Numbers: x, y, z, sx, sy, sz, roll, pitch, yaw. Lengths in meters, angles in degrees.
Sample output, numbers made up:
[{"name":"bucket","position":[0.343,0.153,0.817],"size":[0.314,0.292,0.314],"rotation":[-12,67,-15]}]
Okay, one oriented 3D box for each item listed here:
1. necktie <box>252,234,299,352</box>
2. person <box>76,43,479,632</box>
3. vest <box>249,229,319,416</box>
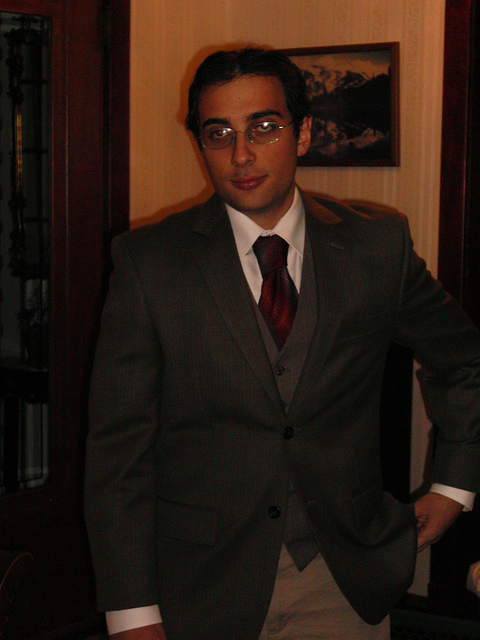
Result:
[{"name":"necktie","position":[0.062,-0.049,1.149],"size":[0.067,0.205,0.023],"rotation":[-5,-17,2]},{"name":"person","position":[0.084,0.049,1.165],"size":[0.739,1.060,0.336],"rotation":[-4,8,-19]},{"name":"vest","position":[0.100,-0.011,1.148],"size":[0.153,0.288,0.097],"rotation":[-8,10,-40]}]
